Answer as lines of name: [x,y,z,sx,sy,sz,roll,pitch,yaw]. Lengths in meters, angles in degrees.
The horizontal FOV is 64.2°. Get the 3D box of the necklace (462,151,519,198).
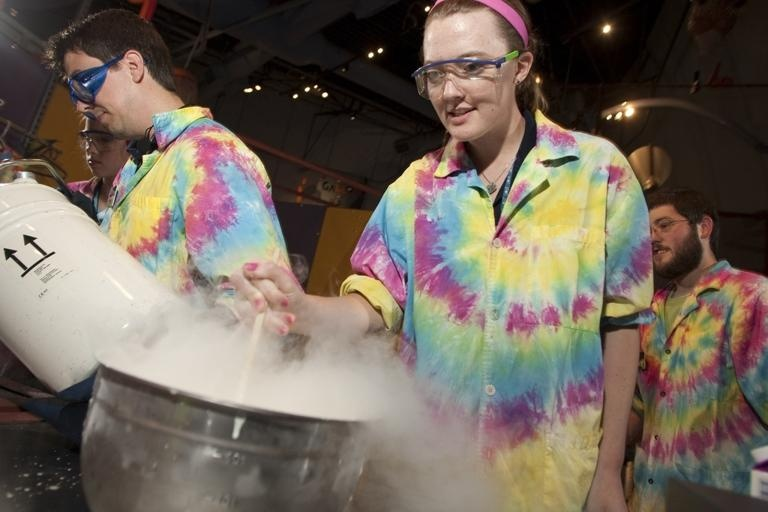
necklace: [0.385,-0.286,2.162,0.206,0.174,0.058,1,3,13]

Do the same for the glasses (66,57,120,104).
glasses: [-1.169,-0.700,2.539,0.187,0.084,0.184,-40,15,-33]
